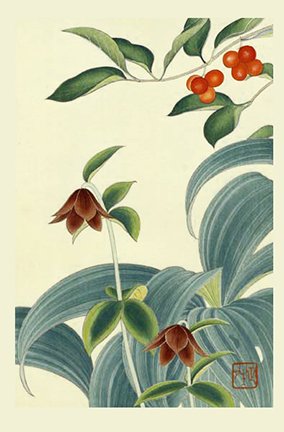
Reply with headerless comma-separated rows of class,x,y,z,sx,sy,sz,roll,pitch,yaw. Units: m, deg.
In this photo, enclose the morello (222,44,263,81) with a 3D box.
morello,0.238,-0.362,1.221,0.079,0.034,0.065,-24,-59,-9
